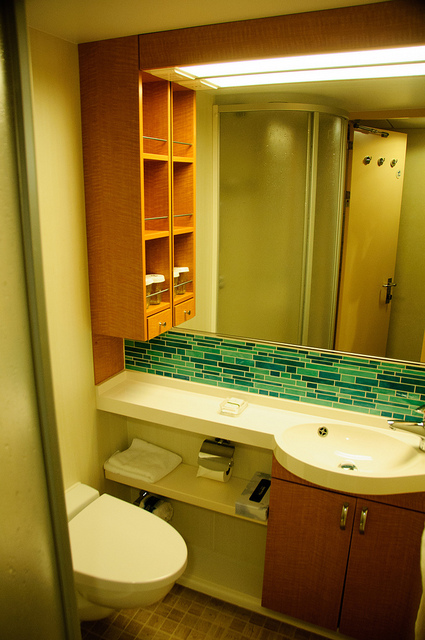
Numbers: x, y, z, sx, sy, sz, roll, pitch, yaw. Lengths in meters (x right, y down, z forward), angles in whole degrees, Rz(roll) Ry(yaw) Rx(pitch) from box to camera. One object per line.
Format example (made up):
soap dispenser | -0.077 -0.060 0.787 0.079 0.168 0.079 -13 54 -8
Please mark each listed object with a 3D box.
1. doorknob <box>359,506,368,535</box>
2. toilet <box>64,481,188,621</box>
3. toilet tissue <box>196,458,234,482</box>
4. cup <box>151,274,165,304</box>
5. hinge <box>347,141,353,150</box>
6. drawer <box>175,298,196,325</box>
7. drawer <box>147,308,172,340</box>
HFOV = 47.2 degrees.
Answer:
doorknob | 0.501 0.661 1.613 0.018 0.083 0.079 4 11 15
toilet | -0.326 0.872 1.813 0.379 0.293 0.560 -5 14 -20
toilet tissue | 0.014 0.666 2.153 0.129 0.100 0.117 6 -31 24
cup | -0.224 -0.121 1.951 0.050 0.120 0.081 -2 13 -9
hinge | 0.487 -0.616 1.721 0.022 0.022 0.023 3 2 -10
drawer | -0.119 -0.038 2.079 0.027 0.100 0.122 9 16 34
drawer | -0.214 0.011 1.950 0.096 0.096 0.150 7 16 23
